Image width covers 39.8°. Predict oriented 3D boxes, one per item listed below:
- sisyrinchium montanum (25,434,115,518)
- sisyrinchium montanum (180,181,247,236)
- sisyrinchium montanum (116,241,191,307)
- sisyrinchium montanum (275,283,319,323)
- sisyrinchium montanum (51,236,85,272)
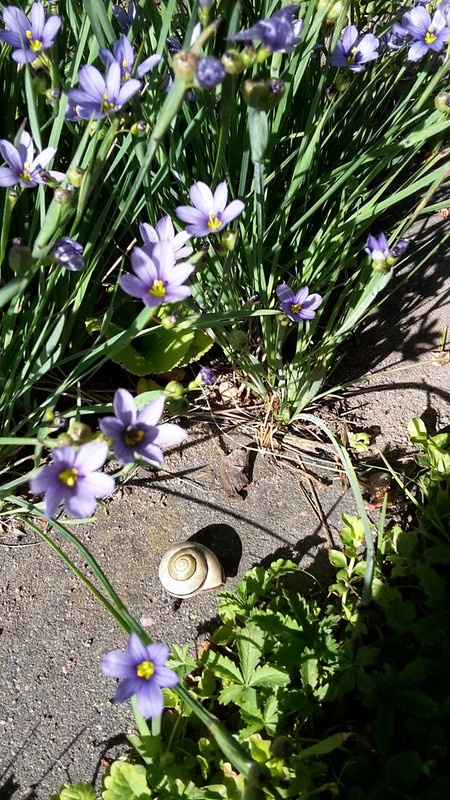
[{"bbox_3d":[-0.253,0.129,1.029,0.128,0.093,0.115,6,43,-18],"label":"sisyrinchium montanum"},{"bbox_3d":[-0.029,-0.420,1.384,0.124,0.071,0.142,37,78,29],"label":"sisyrinchium montanum"},{"bbox_3d":[-0.130,-0.241,1.179,0.127,0.075,0.126,13,42,-12],"label":"sisyrinchium montanum"},{"bbox_3d":[0.196,-0.254,1.658,0.113,0.045,0.097,-1,67,-38],"label":"sisyrinchium montanum"},{"bbox_3d":[-0.365,-0.350,1.451,0.070,0.066,0.133,7,44,-17],"label":"sisyrinchium montanum"}]
